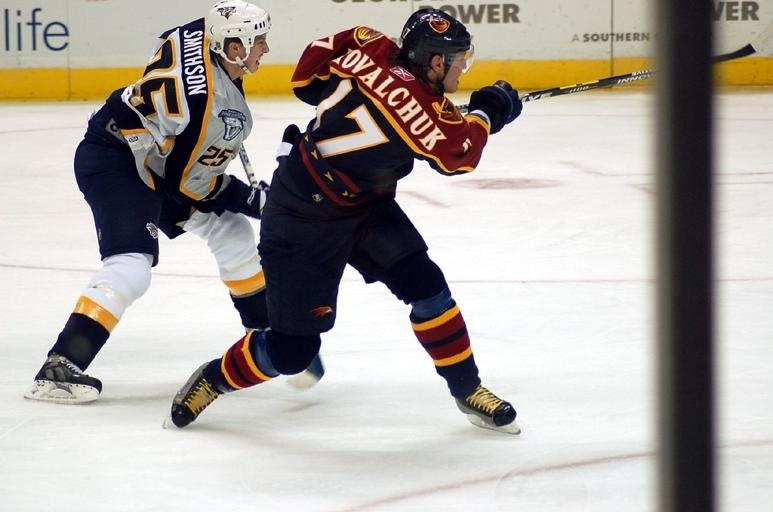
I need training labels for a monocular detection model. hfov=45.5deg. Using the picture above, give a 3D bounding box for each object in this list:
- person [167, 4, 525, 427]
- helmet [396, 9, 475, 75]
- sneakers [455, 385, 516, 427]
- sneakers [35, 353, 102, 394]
[{"bbox_3d":[-0.104,-0.125,3.075,1.108,1.365,0.367,1,11,4],"label":"person"},{"bbox_3d":[0.158,-0.719,3.042,0.262,0.179,0.180,-8,18,-6],"label":"helmet"},{"bbox_3d":[0.324,0.494,3.108,0.093,0.104,0.254,-32,21,-31],"label":"sneakers"},{"bbox_3d":[-1.160,0.425,3.258,0.282,0.147,0.102,0,4,-4],"label":"sneakers"}]
